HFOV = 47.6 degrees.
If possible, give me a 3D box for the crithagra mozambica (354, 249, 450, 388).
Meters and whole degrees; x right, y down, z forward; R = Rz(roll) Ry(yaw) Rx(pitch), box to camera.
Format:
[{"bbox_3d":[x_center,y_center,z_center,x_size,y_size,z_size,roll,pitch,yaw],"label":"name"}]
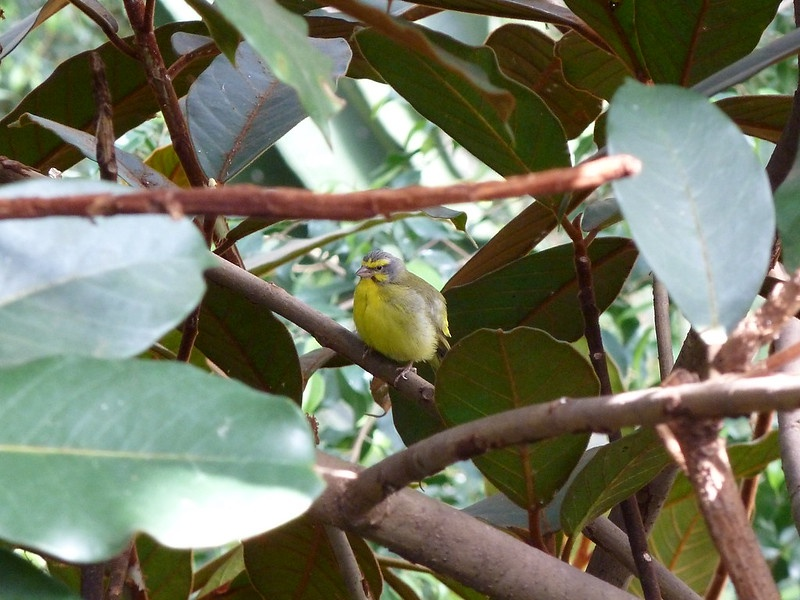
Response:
[{"bbox_3d":[0.008,0.049,3.395,0.336,0.410,0.458,1,1,6],"label":"crithagra mozambica"}]
